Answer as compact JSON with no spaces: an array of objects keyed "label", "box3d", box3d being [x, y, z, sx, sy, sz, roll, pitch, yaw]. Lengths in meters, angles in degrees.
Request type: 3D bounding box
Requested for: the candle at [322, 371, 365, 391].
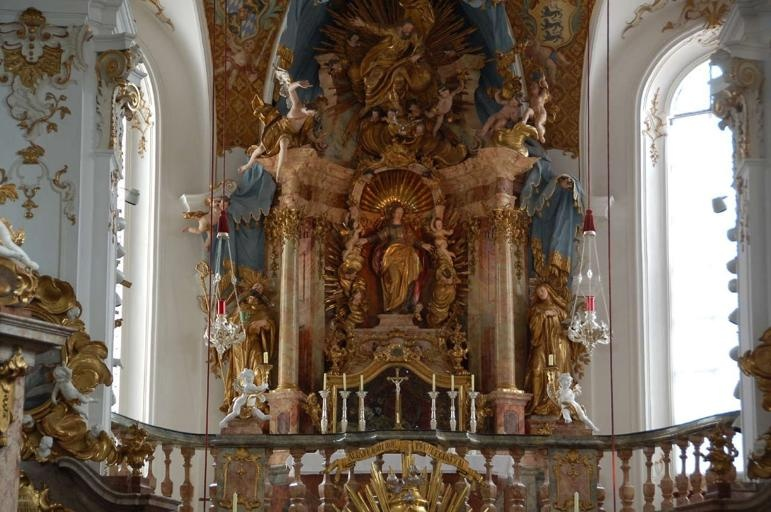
[{"label":"candle","box3d":[-0.469,1.389,18.177,0.348,0.224,0.079,4,-11,-6]}]
